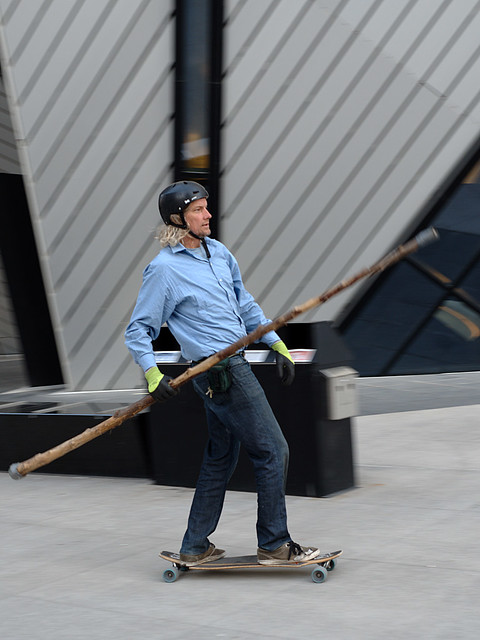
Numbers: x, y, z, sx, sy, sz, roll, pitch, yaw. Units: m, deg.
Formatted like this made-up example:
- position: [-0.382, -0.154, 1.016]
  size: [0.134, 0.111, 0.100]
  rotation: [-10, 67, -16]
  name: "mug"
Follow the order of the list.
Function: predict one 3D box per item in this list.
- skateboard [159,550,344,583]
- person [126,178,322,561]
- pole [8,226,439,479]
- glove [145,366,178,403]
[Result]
- position: [0.008, 1.053, 3.068]
  size: [0.897, 0.104, 0.255]
  rotation: [0, -4, 7]
  name: "skateboard"
- position: [-0.152, 0.362, 3.471]
  size: [0.809, 2.033, 1.411]
  rotation: [1, 15, -8]
  name: "person"
- position: [-0.452, 0.190, 6.812]
  size: [5.597, 0.407, 0.593]
  rotation: [-25, -22, 8]
  name: "pole"
- position: [-0.324, 0.256, 2.833]
  size: [0.150, 0.105, 0.051]
  rotation: [38, 42, 20]
  name: "glove"
